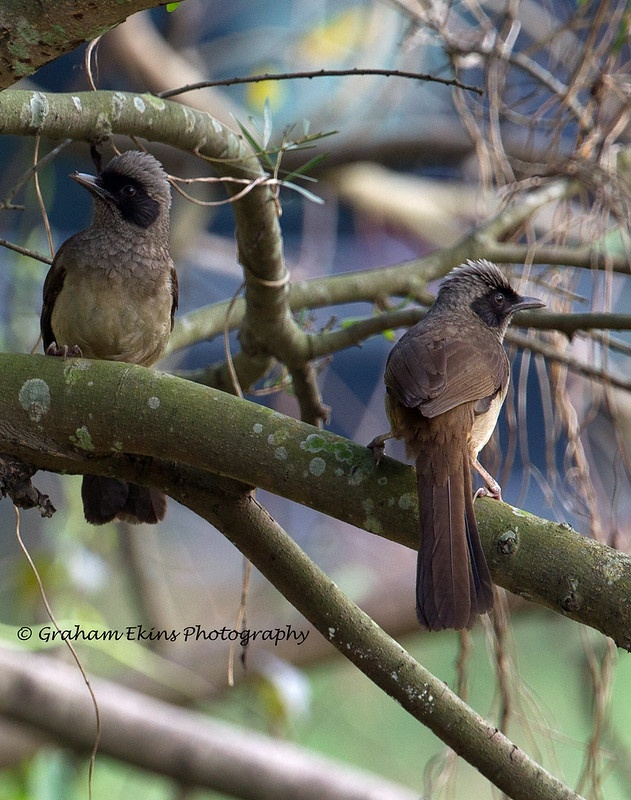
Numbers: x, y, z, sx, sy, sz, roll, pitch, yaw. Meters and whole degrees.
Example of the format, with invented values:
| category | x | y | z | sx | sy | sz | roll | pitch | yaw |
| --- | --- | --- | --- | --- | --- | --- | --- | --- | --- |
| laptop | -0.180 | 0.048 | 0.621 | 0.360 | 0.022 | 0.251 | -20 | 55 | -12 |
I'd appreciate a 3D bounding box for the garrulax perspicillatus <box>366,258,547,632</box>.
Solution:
| category | x | y | z | sx | sy | sz | roll | pitch | yaw |
| --- | --- | --- | --- | --- | --- | --- | --- | --- | --- |
| garrulax perspicillatus | 0.383 | 0.010 | 3.052 | 0.443 | 1.271 | 0.558 | 22 | -54 | -10 |
